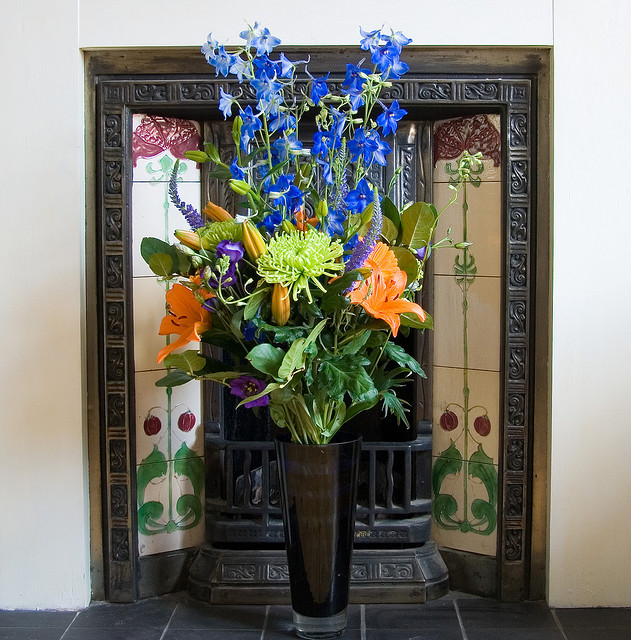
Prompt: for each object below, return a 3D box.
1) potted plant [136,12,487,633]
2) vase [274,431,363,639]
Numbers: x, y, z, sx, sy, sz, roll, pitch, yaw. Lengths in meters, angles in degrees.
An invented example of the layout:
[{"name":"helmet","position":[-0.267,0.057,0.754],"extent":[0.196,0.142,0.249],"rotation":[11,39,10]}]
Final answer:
[{"name":"potted plant","position":[-0.009,-0.012,2.797],"extent":[0.999,1.905,0.865],"rotation":[-2,4,-8]},{"name":"vase","position":[0.014,0.644,2.659],"extent":[0.242,0.604,0.131],"rotation":[-1,4,2]}]
